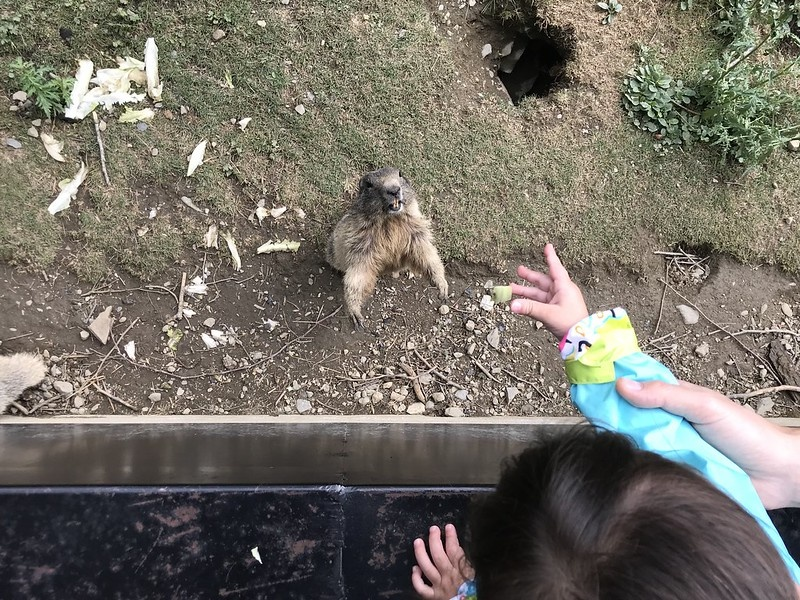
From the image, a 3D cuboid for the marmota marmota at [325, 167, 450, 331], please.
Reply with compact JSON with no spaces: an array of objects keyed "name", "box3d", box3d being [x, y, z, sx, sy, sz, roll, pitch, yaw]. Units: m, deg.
[{"name":"marmota marmota","box3d":[-0.155,-0.501,5.552,0.769,0.934,1.282,-5,42,-8]}]
